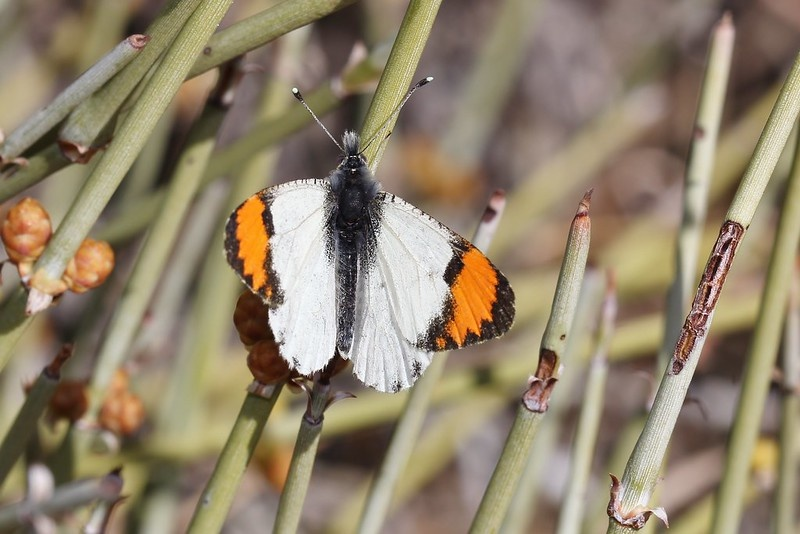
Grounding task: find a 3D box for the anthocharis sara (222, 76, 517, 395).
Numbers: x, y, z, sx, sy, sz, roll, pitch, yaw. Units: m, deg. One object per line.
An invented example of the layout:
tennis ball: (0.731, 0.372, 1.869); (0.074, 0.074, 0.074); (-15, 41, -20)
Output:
anthocharis sara: (-0.059, -0.023, 1.061); (0.330, 0.373, 0.173); (-1, 9, -26)
